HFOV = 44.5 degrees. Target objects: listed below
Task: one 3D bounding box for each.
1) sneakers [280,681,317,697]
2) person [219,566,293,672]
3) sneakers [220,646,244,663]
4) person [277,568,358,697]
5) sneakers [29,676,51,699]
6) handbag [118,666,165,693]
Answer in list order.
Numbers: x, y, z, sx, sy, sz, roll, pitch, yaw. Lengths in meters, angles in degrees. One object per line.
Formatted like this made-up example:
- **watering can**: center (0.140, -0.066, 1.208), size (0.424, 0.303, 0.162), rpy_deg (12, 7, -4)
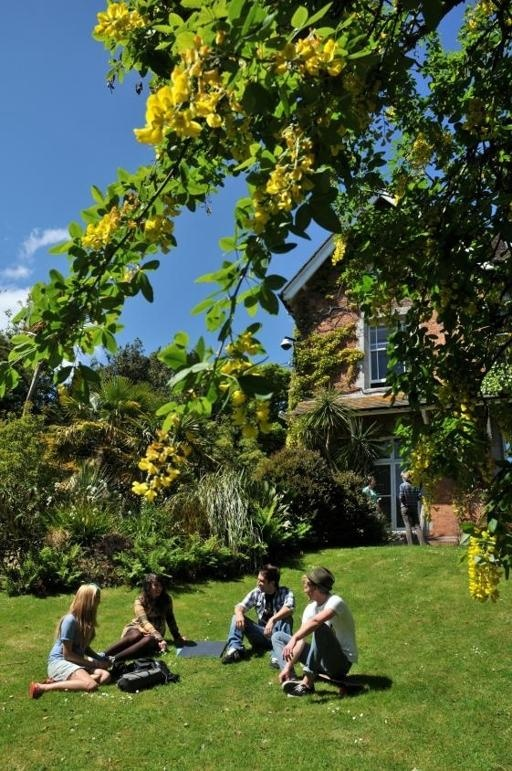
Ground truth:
- **sneakers**: center (0.333, 2.387, 4.915), size (0.273, 0.101, 0.088), rpy_deg (14, -32, -14)
- **person**: center (0.051, 2.180, 6.034), size (0.640, 0.821, 0.789), rpy_deg (-3, -15, 11)
- **sneakers**: center (-0.235, 2.474, 5.717), size (0.089, 0.106, 0.238), rpy_deg (-7, -35, 14)
- **person**: center (0.520, 1.999, 5.109), size (0.663, 0.949, 0.542), rpy_deg (1, -1, -4)
- **sneakers**: center (-1.605, 2.252, 4.644), size (0.095, 0.070, 0.204), rpy_deg (6, -47, -19)
- **handbag**: center (-0.890, 2.292, 4.900), size (0.264, 0.093, 0.152), rpy_deg (4, -10, -34)
